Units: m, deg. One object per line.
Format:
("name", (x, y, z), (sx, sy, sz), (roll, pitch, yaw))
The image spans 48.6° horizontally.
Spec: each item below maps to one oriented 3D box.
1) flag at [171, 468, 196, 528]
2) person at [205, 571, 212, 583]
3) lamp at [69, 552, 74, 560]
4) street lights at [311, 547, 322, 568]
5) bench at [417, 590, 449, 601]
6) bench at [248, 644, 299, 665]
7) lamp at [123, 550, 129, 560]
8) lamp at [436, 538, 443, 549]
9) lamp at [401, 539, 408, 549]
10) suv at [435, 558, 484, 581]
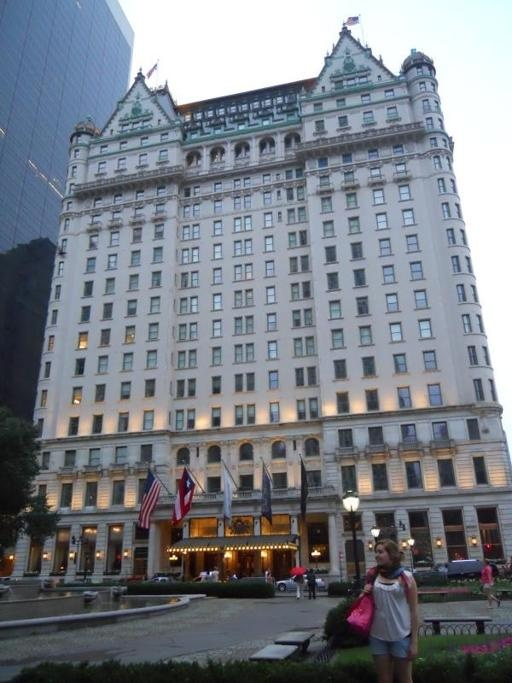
("flag", (-4.809, 10.122, 38.087), (1.268, 3.561, 3.499), (-1, -21, -7))
("person", (-3.604, 17.369, 42.057), (0.523, 0.909, 0.504), (0, -23, 0))
("lamp", (-17.357, 20.215, 53.616), (0.571, 0.662, 0.139), (-13, -23, 24))
("street lights", (5.367, 19.263, 50.800), (1.023, 1.623, 0.545), (-5, -21, 5))
("bench", (7.734, 11.147, 24.789), (1.267, 0.332, 1.298), (-8, -20, 12))
("bench", (0.328, 5.429, 9.908), (0.660, 0.230, 1.055), (-6, -19, 22))
("lamp", (-12.047, 19.790, 52.815), (0.605, 0.872, 0.155), (-4, -21, 1))
("lamp", (14.984, 16.541, 46.557), (0.514, 0.867, 0.489), (7, -42, -4))
("lamp", (12.136, 16.631, 46.581), (0.703, 0.677, 0.644), (-3, -30, -2))
("suv", (13.730, 15.289, 38.207), (3.016, 1.456, 1.684), (3, -22, 4))
